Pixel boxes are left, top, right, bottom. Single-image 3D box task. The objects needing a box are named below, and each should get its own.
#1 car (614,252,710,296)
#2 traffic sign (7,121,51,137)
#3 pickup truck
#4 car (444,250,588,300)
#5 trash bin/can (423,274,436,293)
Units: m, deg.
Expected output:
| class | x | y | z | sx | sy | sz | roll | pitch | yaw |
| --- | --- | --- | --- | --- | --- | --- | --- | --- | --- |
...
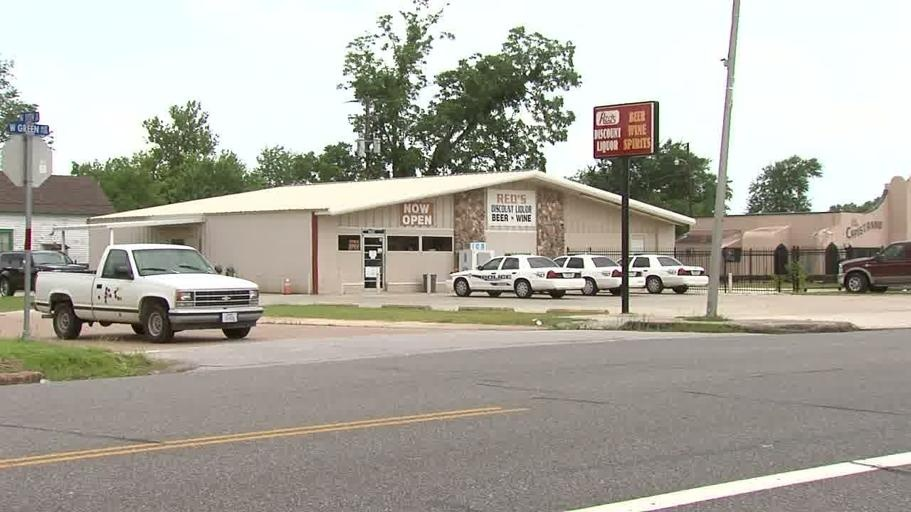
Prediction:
| class | x | y | z | sx | sy | sz | roll | pitch | yaw |
| --- | --- | --- | --- | --- | --- | --- | --- | --- | --- |
| car | 11.801 | 1.019 | 41.692 | 3.855 | 2.140 | 1.220 | 0 | -2 | 15 |
| traffic sign | -11.092 | -3.316 | 19.191 | 0.823 | 0.363 | 1.205 | 3 | -4 | -37 |
| pickup truck | -8.880 | 1.129 | 20.833 | 5.594 | 2.005 | 2.932 | -3 | -5 | 34 |
| car | 3.124 | 1.035 | 38.726 | 5.885 | 1.570 | 2.704 | 1 | 0 | 37 |
| trash bin/can | -1.476 | 1.621 | 44.395 | 0.645 | 1.097 | 1.233 | -1 | -3 | 39 |
